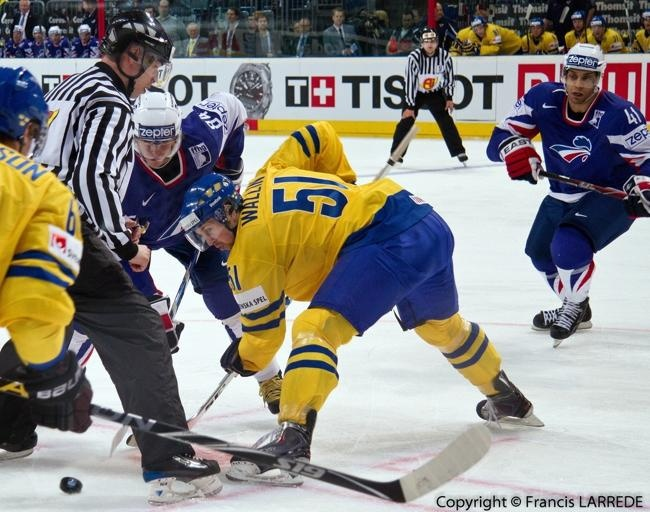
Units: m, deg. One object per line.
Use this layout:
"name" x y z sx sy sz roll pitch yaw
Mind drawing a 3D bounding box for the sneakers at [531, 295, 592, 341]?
"sneakers" 1.269 0.326 4.189 0.439 0.161 0.144 -9 25 -43

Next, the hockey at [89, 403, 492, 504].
"hockey" -0.129 0.679 2.668 1.250 0.161 0.129 7 56 20

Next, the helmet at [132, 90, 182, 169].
"helmet" -0.646 -0.542 3.369 0.257 0.286 0.295 -1 46 -8

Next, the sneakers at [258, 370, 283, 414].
"sneakers" -0.248 0.560 3.294 0.099 0.065 0.204 1 36 -19

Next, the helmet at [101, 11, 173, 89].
"helmet" -0.689 -0.816 3.118 0.353 0.308 0.279 4 19 -15

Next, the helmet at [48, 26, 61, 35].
"helmet" -4.423 -3.690 12.921 0.149 0.140 0.167 -4 -11 1

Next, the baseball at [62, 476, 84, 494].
"baseball" -0.837 0.746 2.599 0.069 0.042 0.089 -3 13 -9

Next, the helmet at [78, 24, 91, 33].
"helmet" -3.856 -3.644 12.685 0.158 0.151 0.170 -1 1 1

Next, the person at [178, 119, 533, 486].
"person" 0.020 0.099 3.114 1.500 1.091 1.030 -2 9 -8

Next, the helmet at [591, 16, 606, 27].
"helmet" 3.612 -3.114 10.441 0.196 0.121 0.156 1 14 6

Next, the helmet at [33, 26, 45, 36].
"helmet" -4.709 -3.731 13.009 0.140 0.138 0.161 -2 -23 0

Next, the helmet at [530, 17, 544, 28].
"helmet" 2.888 -3.209 10.807 0.149 0.132 0.191 -5 -10 24

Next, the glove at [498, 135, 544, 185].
"glove" 1.096 -0.542 4.380 0.135 0.268 0.209 -41 17 -20

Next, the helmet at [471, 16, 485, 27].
"helmet" 2.100 -3.242 10.864 0.190 0.154 0.140 13 22 32

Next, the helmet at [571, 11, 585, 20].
"helmet" 3.358 -3.207 10.520 0.129 0.085 0.123 -5 17 -25

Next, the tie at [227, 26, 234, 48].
"tie" -1.475 -3.383 12.211 0.131 0.206 0.060 3 13 9

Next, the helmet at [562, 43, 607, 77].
"helmet" 1.379 -1.050 4.190 0.186 0.173 0.215 5 21 -26
